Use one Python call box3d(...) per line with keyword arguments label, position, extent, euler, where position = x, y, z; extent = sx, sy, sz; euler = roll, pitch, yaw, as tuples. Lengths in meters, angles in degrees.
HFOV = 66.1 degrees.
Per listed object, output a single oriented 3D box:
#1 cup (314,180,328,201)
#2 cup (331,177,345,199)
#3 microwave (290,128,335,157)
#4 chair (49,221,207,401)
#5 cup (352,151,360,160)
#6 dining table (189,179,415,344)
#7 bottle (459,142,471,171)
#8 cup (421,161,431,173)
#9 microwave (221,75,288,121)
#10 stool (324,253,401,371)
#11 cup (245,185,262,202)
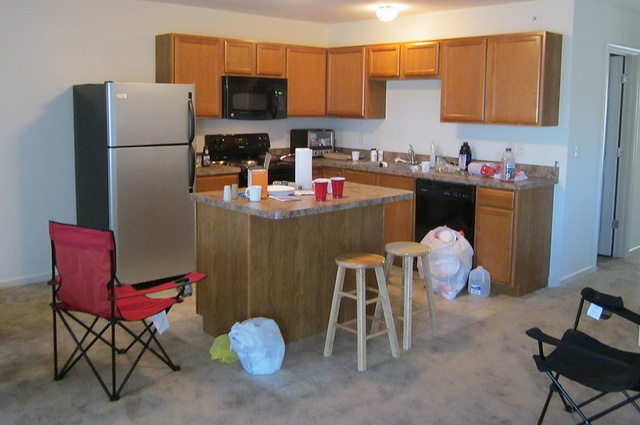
box3d(label="cup", position=(0.006, -0.191, 4.211), extent=(0.160, 0.189, 0.172), euler=(-1, 4, 0))
box3d(label="cup", position=(0.132, -0.231, 4.337), extent=(0.162, 0.161, 0.162), euler=(0, 2, 0))
box3d(label="microwave", position=(-0.105, -1.067, 7.236), extent=(0.692, 0.463, 0.401), euler=(-7, 9, -44))
box3d(label="chair", position=(-1.617, 0.682, 3.946), extent=(1.123, 1.220, 0.819), euler=(6, 7, 31))
box3d(label="cup", position=(0.499, -0.815, 6.976), extent=(0.119, 0.136, 0.116), euler=(-1, 11, 0))
box3d(label="dining table", position=(-0.247, 0.305, 4.564), extent=(1.846, 1.346, 1.373), euler=(-7, 12, -40))
box3d(label="bottle", position=(1.788, -0.695, 6.033), extent=(0.151, 0.332, 0.218), euler=(1, 12, 16))
box3d(label="cup", position=(1.311, -0.566, 6.069), extent=(0.136, 0.155, 0.156), euler=(1, 4, 20))
box3d(label="microwave", position=(-0.876, -1.470, 6.340), extent=(0.570, 0.552, 0.863), euler=(8, 11, 42))
box3d(label="stool", position=(0.353, 0.774, 4.239), extent=(0.647, 0.877, 0.780), euler=(-1, 11, 7))
box3d(label="cup", position=(-0.563, -0.165, 4.203), extent=(0.101, 0.115, 0.156), euler=(1, 2, 16))
